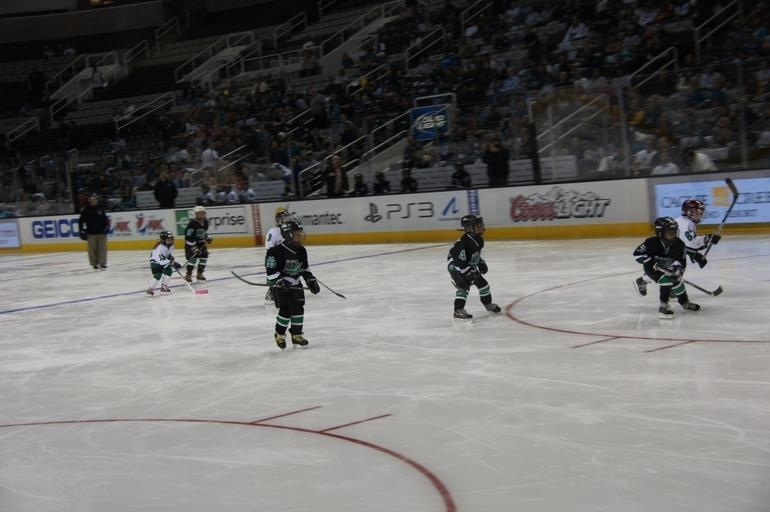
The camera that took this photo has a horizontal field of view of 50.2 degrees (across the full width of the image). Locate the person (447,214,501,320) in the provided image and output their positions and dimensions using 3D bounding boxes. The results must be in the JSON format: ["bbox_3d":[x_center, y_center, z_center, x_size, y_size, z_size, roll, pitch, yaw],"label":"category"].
[{"bbox_3d":[1.286,0.157,12.245,0.670,1.532,0.663,-3,9,13],"label":"person"}]

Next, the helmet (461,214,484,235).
[{"bbox_3d":[1.279,-0.455,12.045,0.280,0.272,0.362,-4,6,1],"label":"helmet"}]

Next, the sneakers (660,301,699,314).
[{"bbox_3d":[4.198,0.741,11.715,0.554,0.146,0.122,-7,23,-2],"label":"sneakers"}]

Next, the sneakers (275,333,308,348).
[{"bbox_3d":[-1.407,1.167,11.372,0.641,0.160,0.158,1,17,6],"label":"sneakers"}]

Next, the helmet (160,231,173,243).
[{"bbox_3d":[-4.462,-0.376,16.636,0.224,0.218,0.340,-5,6,-9],"label":"helmet"}]

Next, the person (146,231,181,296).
[{"bbox_3d":[-4.667,0.119,17.004,0.691,1.257,1.459,-7,7,-13],"label":"person"}]

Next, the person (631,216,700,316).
[{"bbox_3d":[4.020,0.137,11.641,0.733,1.352,0.614,-6,8,-6],"label":"person"}]

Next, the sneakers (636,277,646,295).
[{"bbox_3d":[3.771,0.445,12.113,0.189,0.249,0.113,-6,-6,9],"label":"sneakers"}]

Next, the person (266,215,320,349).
[{"bbox_3d":[-1.306,0.403,11.357,0.675,1.743,0.416,-9,10,-23],"label":"person"}]
